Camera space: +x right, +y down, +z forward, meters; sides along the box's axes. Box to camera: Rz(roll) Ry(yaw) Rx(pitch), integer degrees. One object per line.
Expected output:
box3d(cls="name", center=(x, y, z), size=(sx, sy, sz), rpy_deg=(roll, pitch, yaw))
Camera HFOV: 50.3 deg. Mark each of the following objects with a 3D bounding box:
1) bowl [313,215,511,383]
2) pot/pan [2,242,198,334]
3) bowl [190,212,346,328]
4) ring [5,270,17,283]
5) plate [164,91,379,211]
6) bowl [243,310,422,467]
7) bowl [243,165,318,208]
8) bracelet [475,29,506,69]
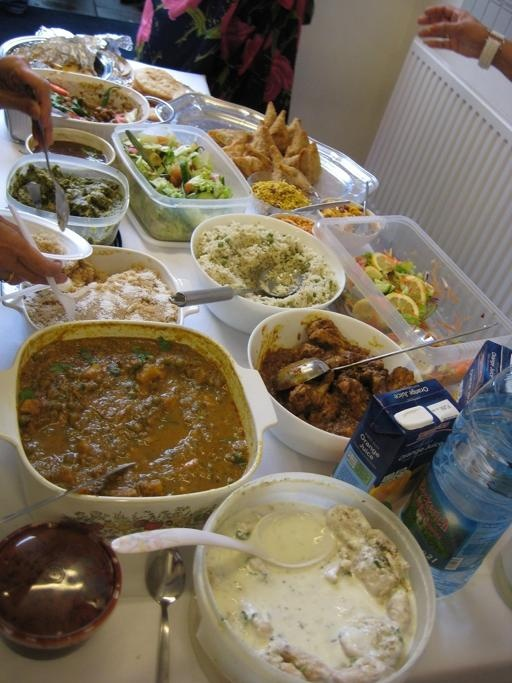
box3d(cls="bowl", center=(0.526, -0.136, 2.078), size=(0.569, 0.275, 0.766), rpy_deg=(-17, 60, -31))
box3d(cls="pot/pan", center=(-0.413, -0.126, 1.480), size=(0.400, 0.080, 0.289), rpy_deg=(-15, 56, -39))
box3d(cls="bowl", center=(0.026, -0.234, 1.829), size=(0.443, 0.167, 0.428), rpy_deg=(12, 45, -13))
box3d(cls="ring", center=(-0.615, -0.158, 1.363), size=(0.032, 0.034, 0.012), rpy_deg=(6, 52, -16))
box3d(cls="plate", center=(0.093, -0.994, 2.752), size=(0.646, 0.143, 1.038), rpy_deg=(-23, 60, -38))
box3d(cls="bowl", center=(0.129, 0.131, 1.566), size=(0.436, 0.158, 0.411), rpy_deg=(12, 40, -10))
box3d(cls="bowl", center=(0.117, -0.605, 2.328), size=(0.281, 0.088, 0.221), rpy_deg=(2, 48, -29))
box3d(cls="bracelet", center=(1.190, -1.484, 2.785), size=(0.090, 0.156, 0.079), rpy_deg=(27, 34, 5))
